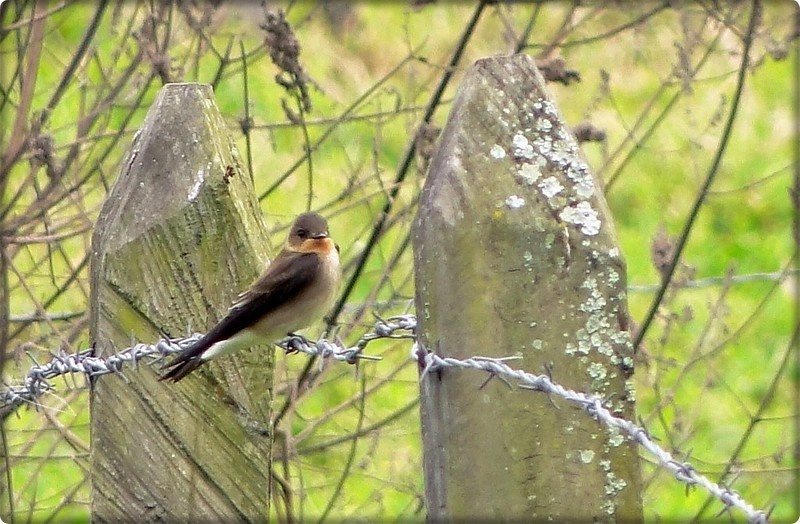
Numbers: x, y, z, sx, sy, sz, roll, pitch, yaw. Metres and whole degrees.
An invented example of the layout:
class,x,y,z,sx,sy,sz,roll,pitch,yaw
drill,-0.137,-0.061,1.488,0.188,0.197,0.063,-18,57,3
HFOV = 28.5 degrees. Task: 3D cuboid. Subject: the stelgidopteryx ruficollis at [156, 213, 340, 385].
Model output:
class,x,y,z,sx,sy,sz,roll,pitch,yaw
stelgidopteryx ruficollis,-0.817,0.284,8.797,1.307,0.723,0.528,-27,30,-33
